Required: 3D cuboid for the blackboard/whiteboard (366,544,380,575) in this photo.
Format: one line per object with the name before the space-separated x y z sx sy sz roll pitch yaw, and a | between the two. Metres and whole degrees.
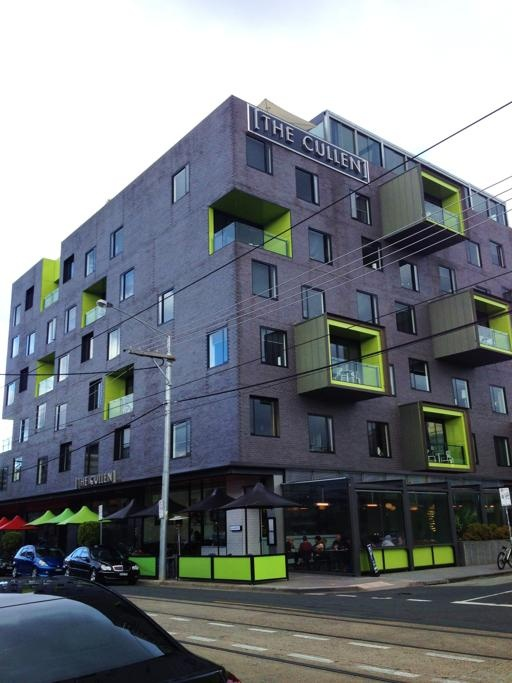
blackboard/whiteboard | 4.146 7.756 22.292 0.348 1.085 0.967 -8 -21 7
